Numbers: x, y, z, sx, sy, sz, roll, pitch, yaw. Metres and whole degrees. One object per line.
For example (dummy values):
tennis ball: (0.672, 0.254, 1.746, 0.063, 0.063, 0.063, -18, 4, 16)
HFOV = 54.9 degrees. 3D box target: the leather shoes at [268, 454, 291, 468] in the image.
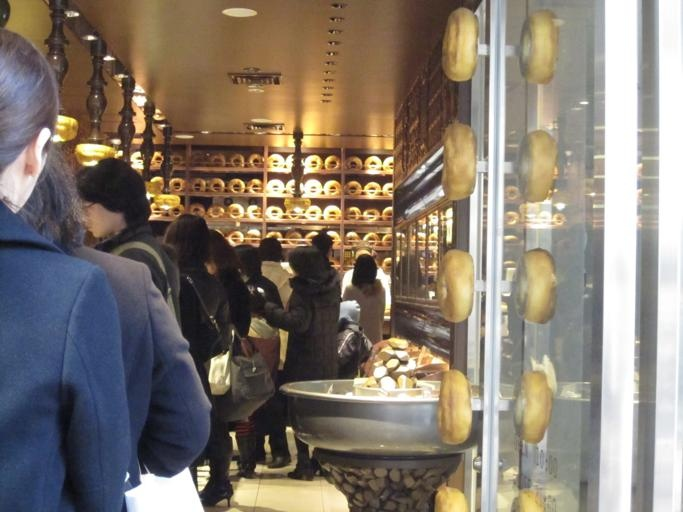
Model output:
leather shoes: (-0.421, 1.433, 4.603, 0.063, 0.139, 0.195, -7, -14, 36)

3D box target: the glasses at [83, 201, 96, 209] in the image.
glasses: (-0.801, -0.161, 2.084, 0.035, 0.039, 0.012, 2, -27, -6)

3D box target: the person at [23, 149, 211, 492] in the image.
person: (-0.784, 0.171, 2.250, 0.313, 0.950, 0.458, 12, 10, -3)

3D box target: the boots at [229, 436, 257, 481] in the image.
boots: (-0.614, 1.296, 4.304, 0.171, 0.365, 0.265, 0, 4, 1)

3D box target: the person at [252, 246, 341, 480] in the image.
person: (-0.272, 0.705, 4.186, 0.458, 1.529, 0.424, 0, 2, -39)
